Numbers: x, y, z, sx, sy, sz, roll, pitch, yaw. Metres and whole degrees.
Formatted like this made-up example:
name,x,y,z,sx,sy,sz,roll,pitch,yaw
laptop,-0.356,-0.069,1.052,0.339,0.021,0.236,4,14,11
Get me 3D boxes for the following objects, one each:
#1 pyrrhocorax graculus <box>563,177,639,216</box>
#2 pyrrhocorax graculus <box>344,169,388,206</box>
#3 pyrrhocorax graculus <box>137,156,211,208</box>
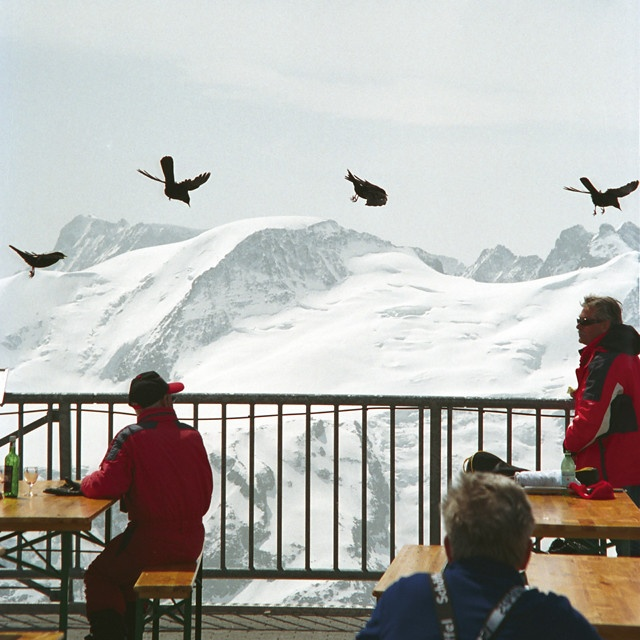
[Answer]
name,x,y,z,sx,sy,sz,roll,pitch,yaw
pyrrhocorax graculus,12.640,-5.496,58.843,2.423,1.827,0.967,-4,22,35
pyrrhocorax graculus,1.878,-5.466,58.515,1.900,1.202,1.168,24,9,-8
pyrrhocorax graculus,-6.160,-5.226,57.775,2.423,1.488,2.312,10,-45,16
